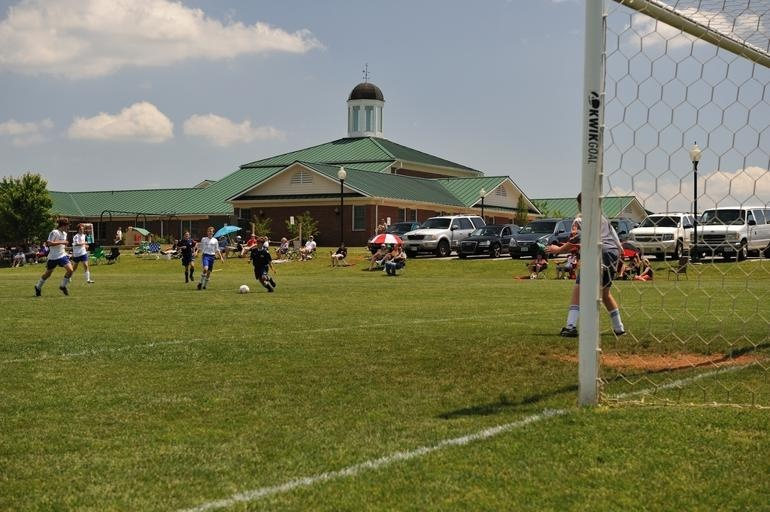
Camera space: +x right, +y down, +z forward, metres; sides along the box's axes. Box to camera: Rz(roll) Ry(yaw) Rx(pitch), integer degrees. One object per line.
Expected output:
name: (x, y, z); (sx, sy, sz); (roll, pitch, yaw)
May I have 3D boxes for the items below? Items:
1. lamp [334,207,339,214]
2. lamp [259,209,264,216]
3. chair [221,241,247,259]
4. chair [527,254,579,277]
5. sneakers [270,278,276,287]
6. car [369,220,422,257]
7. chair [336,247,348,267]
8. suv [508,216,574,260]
lamp: (-2.982, -2.855, 55.514); (0.375, 0.521, 0.349); (4, -5, -6)
lamp: (-8.141, -2.892, 58.766); (0.254, 0.516, 0.392); (-11, 18, -32)
chair: (-7.883, -0.289, 46.305); (0.839, 0.924, 1.056); (-2, -9, 17)
chair: (5.506, 0.388, 29.170); (1.429, 0.802, 0.927); (1, 1, 19)
sneakers: (-3.266, 0.773, 25.834); (0.101, 0.165, 0.290); (-40, -24, -16)
car: (0.330, -0.993, 42.530); (1.285, 1.036, 2.763); (0, -1, 31)
chair: (-1.816, 0.019, 38.151); (0.510, 0.777, 0.374); (6, -7, 46)
suv: (6.845, -0.829, 37.579); (1.447, 1.084, 2.814); (-1, 0, 35)
